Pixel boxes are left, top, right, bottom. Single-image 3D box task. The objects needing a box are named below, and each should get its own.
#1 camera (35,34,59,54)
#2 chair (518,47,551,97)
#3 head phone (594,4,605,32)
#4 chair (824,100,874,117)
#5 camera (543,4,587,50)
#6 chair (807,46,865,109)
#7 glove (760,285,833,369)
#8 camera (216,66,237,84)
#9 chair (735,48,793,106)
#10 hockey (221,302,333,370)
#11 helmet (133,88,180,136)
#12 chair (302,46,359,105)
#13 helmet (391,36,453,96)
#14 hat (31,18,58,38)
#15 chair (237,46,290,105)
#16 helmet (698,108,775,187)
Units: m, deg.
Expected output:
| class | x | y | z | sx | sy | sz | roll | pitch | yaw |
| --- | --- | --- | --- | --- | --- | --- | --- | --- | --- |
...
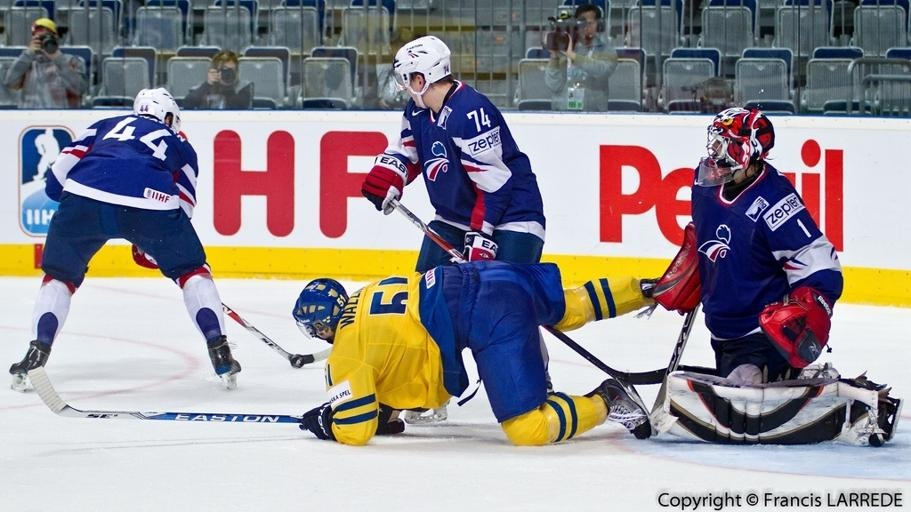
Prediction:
| class | x | y | z | sx | sy | sz | roll | pitch | yaw |
| --- | --- | --- | --- | --- | --- | --- | --- | --- | --- |
| camera | -3.946 | -2.106 | 13.680 | 0.171 | 0.159 | 0.168 | -8 | 35 | -30 |
| chair | 0.739 | -1.787 | 13.416 | 0.447 | 0.557 | 0.419 | 0 | 14 | 2 |
| head phone | 1.348 | -2.260 | 13.167 | 0.094 | 0.244 | 0.254 | -9 | 8 | 13 |
| chair | 3.559 | -1.321 | 12.837 | 0.341 | 0.203 | 0.232 | 1 | -21 | 17 |
| camera | 1.033 | -2.153 | 13.105 | 0.445 | 0.471 | 0.361 | 1 | 3 | 6 |
| chair | 3.442 | -1.656 | 12.896 | 0.472 | 0.605 | 0.295 | 1 | 8 | 7 |
| glove | 2.234 | 0.458 | 9.499 | 0.458 | 0.411 | 0.350 | -28 | 20 | -5 |
| camera | -2.219 | -1.802 | 13.682 | 0.167 | 0.170 | 0.194 | -2 | -1 | -13 |
| chair | 2.911 | -1.740 | 13.224 | 0.530 | 0.699 | 0.516 | 2 | 16 | 13 |
| hockey | -1.370 | 0.660 | 10.877 | 0.961 | 0.332 | 0.080 | 25 | -26 | 1 |
| helmet | -2.252 | -1.101 | 10.691 | 0.302 | 0.349 | 0.355 | -1 | -19 | 29 |
| chair | -1.179 | -1.791 | 13.634 | 0.574 | 0.717 | 0.397 | 2 | 2 | 6 |
| helmet | -0.254 | -1.368 | 10.095 | 0.435 | 0.383 | 0.338 | -4 | 11 | 14 |
| hat | -3.995 | -2.279 | 13.732 | 0.244 | 0.191 | 0.279 | -2 | 8 | -17 |
| chair | -1.825 | -1.795 | 13.720 | 0.499 | 0.652 | 0.572 | 2 | 17 | 0 |
| helmet | 1.960 | -0.767 | 9.737 | 0.624 | 0.555 | 0.468 | -6 | 5 | -2 |
